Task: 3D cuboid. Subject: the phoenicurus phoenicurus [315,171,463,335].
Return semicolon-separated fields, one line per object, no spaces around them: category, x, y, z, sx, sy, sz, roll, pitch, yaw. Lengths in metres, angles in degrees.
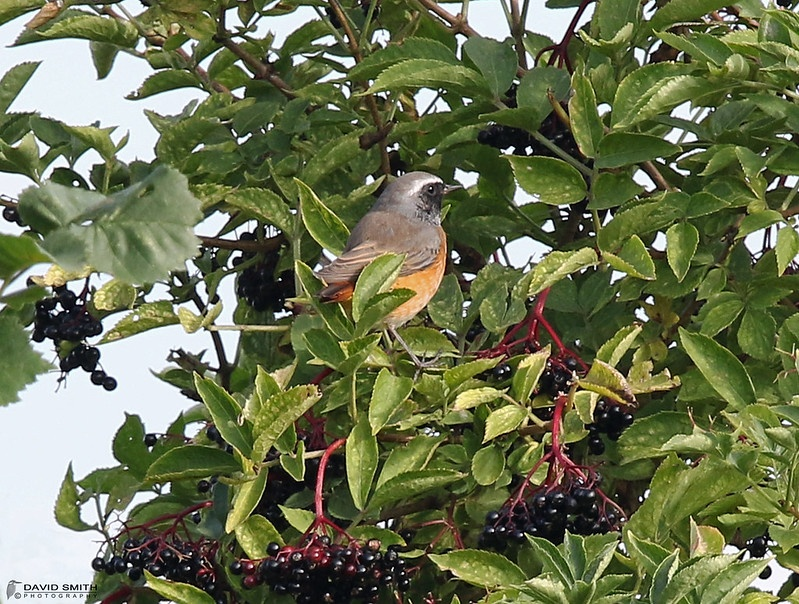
phoenicurus phoenicurus;-0.114;-0.179;6.402;0.851;0.728;0.450;-7;2;-42
